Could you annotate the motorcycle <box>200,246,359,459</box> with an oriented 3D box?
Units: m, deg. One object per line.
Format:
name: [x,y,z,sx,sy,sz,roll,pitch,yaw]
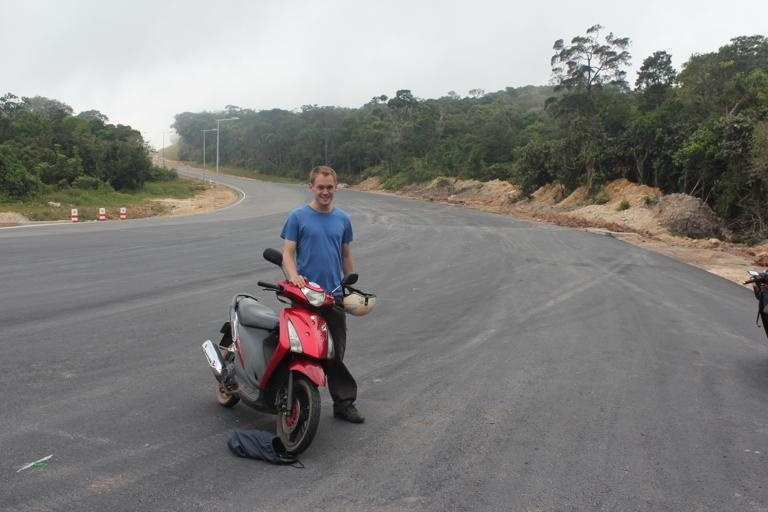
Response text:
motorcycle: [-1.259,1.117,6.020,1.747,1.751,0.623,12,15,40]

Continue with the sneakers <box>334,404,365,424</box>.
sneakers: [-0.420,1.851,6.279,0.441,0.189,0.155,1,4,33]

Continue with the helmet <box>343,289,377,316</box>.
helmet: [-0.256,0.542,6.265,0.330,0.298,0.283,-12,-3,20]

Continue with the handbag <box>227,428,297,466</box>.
handbag: [-1.328,2.036,5.617,0.488,0.172,0.371,8,-4,2]
